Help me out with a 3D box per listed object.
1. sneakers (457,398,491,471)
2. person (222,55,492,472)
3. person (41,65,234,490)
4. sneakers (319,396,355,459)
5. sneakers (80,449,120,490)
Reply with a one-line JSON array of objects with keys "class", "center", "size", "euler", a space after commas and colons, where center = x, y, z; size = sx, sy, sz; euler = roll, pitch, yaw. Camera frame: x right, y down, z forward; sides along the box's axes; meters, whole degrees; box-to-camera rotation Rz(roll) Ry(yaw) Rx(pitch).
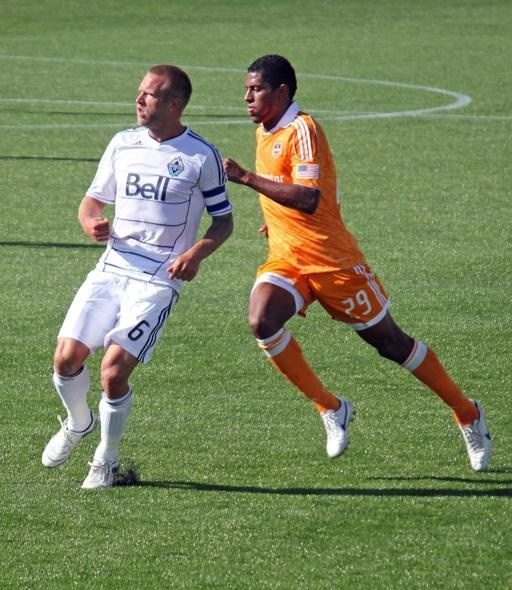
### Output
[{"class": "sneakers", "center": [1.028, 0.647, 5.392], "size": [0.107, 0.293, 0.128], "euler": [-14, -18, 27]}, {"class": "person", "center": [0.436, -0.161, 5.473], "size": [1.402, 1.787, 0.736], "euler": [10, 18, 17]}, {"class": "person", "center": [-0.575, -0.102, 5.258], "size": [0.665, 1.803, 0.854], "euler": [14, 19, 27]}, {"class": "sneakers", "center": [0.378, 0.617, 5.399], "size": [0.110, 0.296, 0.161], "euler": [-7, -26, 41]}, {"class": "sneakers", "center": [-0.687, 0.770, 5.138], "size": [0.243, 0.101, 0.082], "euler": [-17, 49, -35]}]
